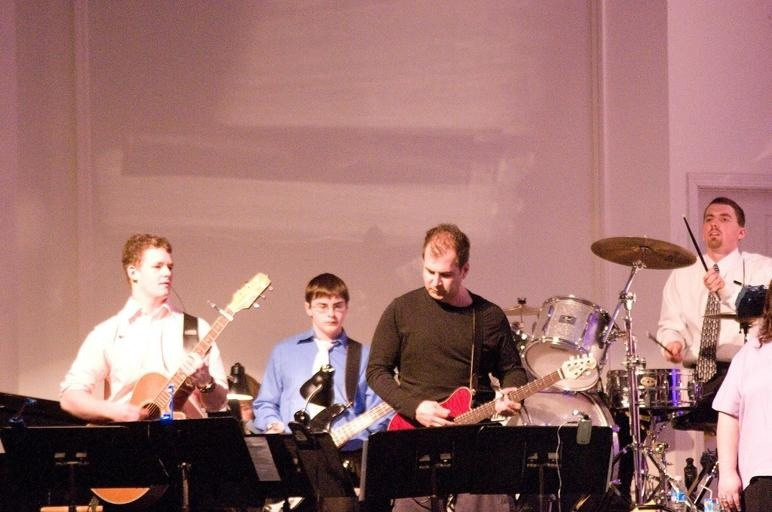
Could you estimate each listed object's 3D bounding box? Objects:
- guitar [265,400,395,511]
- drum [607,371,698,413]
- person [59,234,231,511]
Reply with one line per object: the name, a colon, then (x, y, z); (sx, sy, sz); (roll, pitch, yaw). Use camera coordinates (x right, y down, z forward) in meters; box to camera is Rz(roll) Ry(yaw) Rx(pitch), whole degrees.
guitar: (-0.395, 1.455, 5.761); (0.894, 0.328, 0.121); (-29, 4, -30)
drum: (2.407, 1.222, 7.331); (0.873, 0.371, 0.908); (0, -11, 0)
person: (-1.884, 0.695, 6.095); (1.115, 1.501, 0.474); (4, -8, -6)
